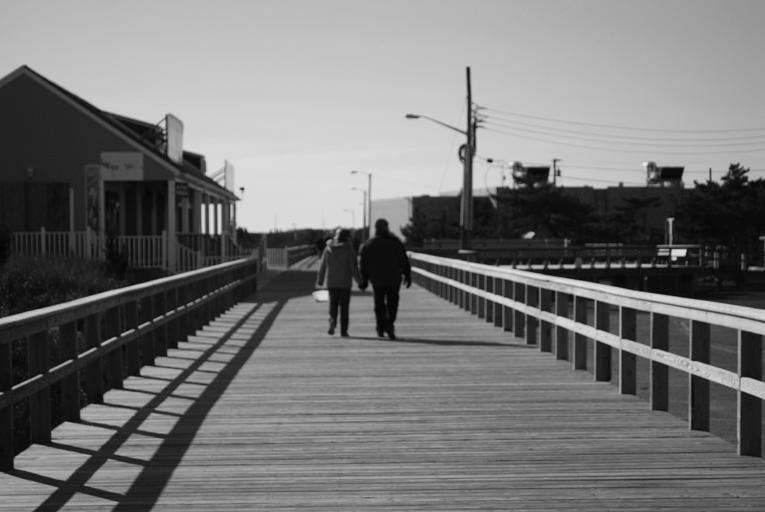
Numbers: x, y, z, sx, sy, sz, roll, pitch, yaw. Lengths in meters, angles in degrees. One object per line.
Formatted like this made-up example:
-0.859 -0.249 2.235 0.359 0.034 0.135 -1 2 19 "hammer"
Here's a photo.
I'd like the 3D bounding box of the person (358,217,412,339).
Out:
0.034 0.379 16.447 0.859 2.082 1.024 0 4 0 "person"
